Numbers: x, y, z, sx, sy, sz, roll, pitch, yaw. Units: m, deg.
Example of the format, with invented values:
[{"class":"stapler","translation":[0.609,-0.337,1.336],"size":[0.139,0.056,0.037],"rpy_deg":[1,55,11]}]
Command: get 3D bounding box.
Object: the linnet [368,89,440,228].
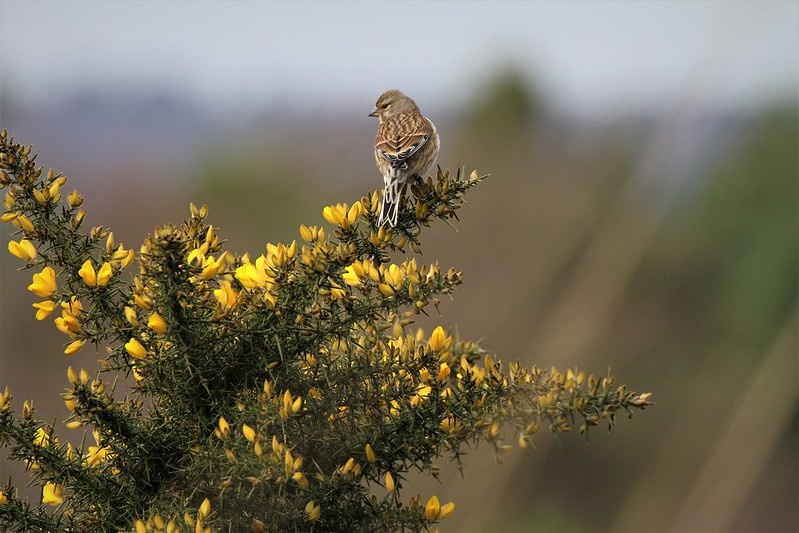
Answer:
[{"class":"linnet","translation":[-0.001,-0.447,4.311],"size":[0.243,0.728,0.358],"rpy_deg":[-8,-74,10]}]
